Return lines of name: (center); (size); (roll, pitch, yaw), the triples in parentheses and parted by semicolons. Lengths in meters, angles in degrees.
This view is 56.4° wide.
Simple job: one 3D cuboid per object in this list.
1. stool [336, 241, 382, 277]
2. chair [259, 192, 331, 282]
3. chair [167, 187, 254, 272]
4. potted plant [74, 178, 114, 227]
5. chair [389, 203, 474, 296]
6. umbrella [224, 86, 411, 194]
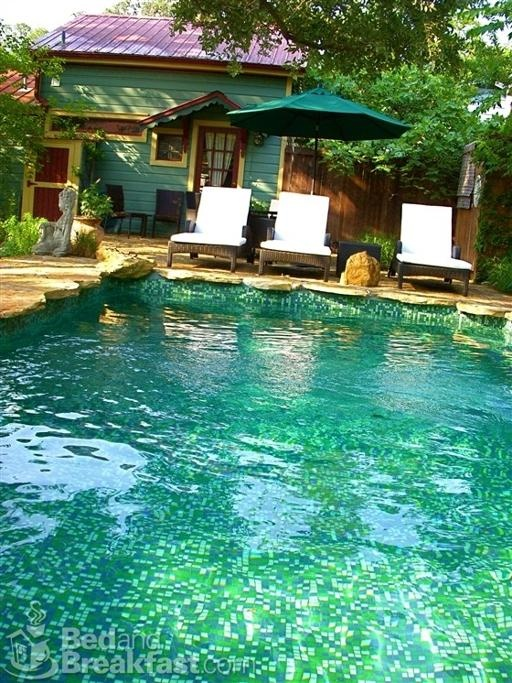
stool: (1.957, -1.590, 9.202); (0.737, 0.674, 0.722); (2, 7, 3)
chair: (0.759, -2.043, 8.779); (1.188, 1.419, 2.035); (6, 16, 2)
chair: (-0.750, -2.119, 8.777); (1.196, 1.351, 2.045); (6, 19, 8)
potted plant: (-4.436, -3.885, 13.172); (0.876, 1.108, 0.953); (1, 14, 22)
chair: (3.190, -1.754, 8.824); (1.226, 1.423, 2.020); (6, 17, 5)
umbrella: (1.102, -3.926, 10.060); (3.089, 2.077, 3.185); (13, 17, 37)
